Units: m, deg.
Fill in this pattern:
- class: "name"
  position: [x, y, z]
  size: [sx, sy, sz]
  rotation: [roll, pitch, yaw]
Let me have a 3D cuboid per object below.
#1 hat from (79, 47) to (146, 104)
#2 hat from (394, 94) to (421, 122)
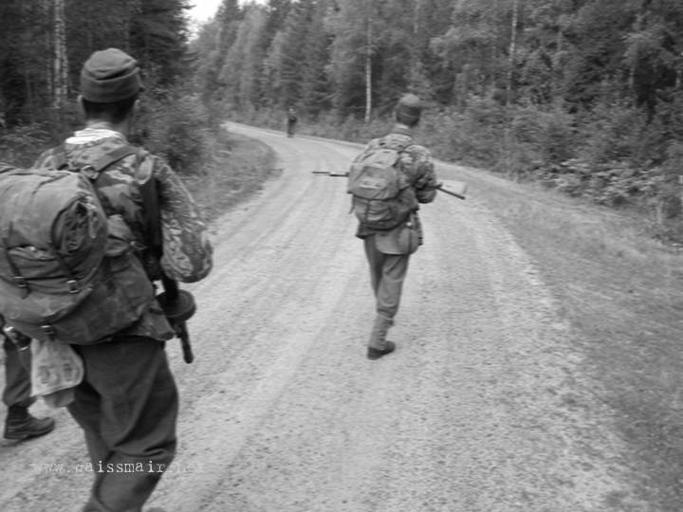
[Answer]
- class: "hat"
  position: [-1.582, -1.236, 5.110]
  size: [0.440, 0.256, 0.420]
  rotation: [-9, 42, -23]
- class: "hat"
  position: [0.615, -1.480, 7.663]
  size: [0.333, 0.263, 0.281]
  rotation: [-4, 39, -5]
